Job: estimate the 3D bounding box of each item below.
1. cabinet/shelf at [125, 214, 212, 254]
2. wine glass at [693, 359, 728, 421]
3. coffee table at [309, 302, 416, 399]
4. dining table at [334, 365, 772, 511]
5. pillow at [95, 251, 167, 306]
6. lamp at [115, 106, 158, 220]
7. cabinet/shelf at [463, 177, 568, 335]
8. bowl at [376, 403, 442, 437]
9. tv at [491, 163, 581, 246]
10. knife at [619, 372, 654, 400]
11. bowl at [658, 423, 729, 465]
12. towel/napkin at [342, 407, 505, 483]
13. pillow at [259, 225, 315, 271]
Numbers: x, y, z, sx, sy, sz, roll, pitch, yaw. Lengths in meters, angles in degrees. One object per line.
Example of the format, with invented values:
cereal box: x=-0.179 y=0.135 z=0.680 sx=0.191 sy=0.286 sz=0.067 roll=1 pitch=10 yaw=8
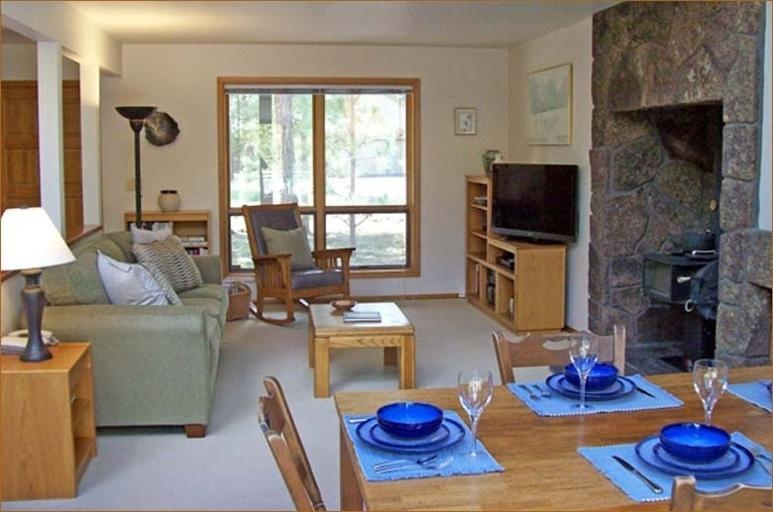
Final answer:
cabinet/shelf: x=-2.289 y=-0.232 z=6.142 sx=0.517 sy=0.411 sz=0.174 roll=-1 pitch=5 yaw=-10
wine glass: x=1.138 y=0.491 z=2.098 sx=0.098 sy=0.244 sz=0.094 roll=4 pitch=16 yaw=26
coffee table: x=-0.206 y=0.600 z=4.561 sx=0.664 sy=0.424 sz=0.958 roll=0 pitch=6 yaw=-6
dining table: x=0.513 y=0.653 z=2.057 sx=1.139 sy=0.511 sz=0.602 roll=-4 pitch=18 yaw=-9
pillow: x=-1.831 y=0.173 z=4.185 sx=0.206 sy=0.349 sz=0.329 roll=-25 pitch=20 yaw=-35
lamp: x=-2.642 y=-0.961 z=6.412 sx=0.363 sy=1.304 sz=0.978 roll=-10 pitch=16 yaw=-22
cabinet/shelf: x=1.374 y=0.006 z=6.189 sx=0.545 sy=1.586 sz=1.794 roll=0 pitch=2 yaw=-6
bowl: x=0.080 y=0.597 z=2.107 sx=0.242 sy=0.070 sz=0.238 roll=-1 pitch=4 yaw=0
tv: x=1.544 y=-0.523 z=6.018 sx=0.256 sy=0.624 sz=0.932 roll=-1 pitch=2 yaw=-35
knife: x=1.023 y=0.537 z=2.439 sx=0.028 sy=0.016 sz=0.196 roll=-12 pitch=17 yaw=-14
bowl: x=1.013 y=0.624 z=1.962 sx=0.205 sy=0.077 sz=0.202 roll=-5 pitch=5 yaw=0
towel/napkin: x=0.106 y=0.644 z=2.066 sx=0.512 sy=0.059 sz=0.400 roll=-4 pitch=13 yaw=-3
pillow: x=-1.091 y=-0.073 z=6.294 sx=0.485 sy=0.409 sz=0.248 roll=-9 pitch=7 yaw=-37
